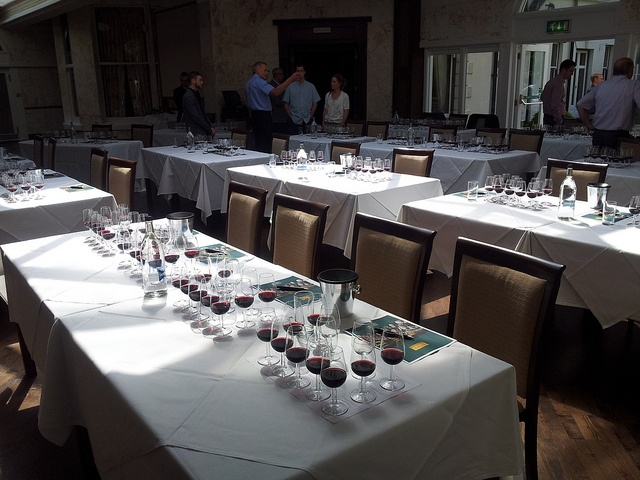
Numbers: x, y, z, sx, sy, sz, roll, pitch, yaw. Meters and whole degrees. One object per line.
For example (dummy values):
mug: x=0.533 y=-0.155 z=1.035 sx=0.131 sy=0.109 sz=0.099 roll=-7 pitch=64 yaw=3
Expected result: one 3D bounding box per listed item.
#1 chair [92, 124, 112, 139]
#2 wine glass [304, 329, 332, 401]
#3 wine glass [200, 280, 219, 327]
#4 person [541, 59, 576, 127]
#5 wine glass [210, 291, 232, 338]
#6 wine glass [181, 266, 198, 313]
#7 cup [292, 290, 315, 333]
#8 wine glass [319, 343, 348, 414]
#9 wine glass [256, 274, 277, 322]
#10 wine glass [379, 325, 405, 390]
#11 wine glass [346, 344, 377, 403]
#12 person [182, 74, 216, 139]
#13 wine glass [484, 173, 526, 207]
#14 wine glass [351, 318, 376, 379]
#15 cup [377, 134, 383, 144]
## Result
chair: x=-4.088 y=-2.036 z=8.191 sx=0.349 sy=0.208 sz=1.023 roll=-8 pitch=19 yaw=-25
wine glass: x=-0.011 y=0.420 z=1.438 sx=0.069 sy=0.177 sz=0.066 roll=2 pitch=16 yaw=24
wine glass: x=-0.468 y=0.276 z=1.922 sx=0.063 sy=0.164 sz=0.068 roll=4 pitch=-10 yaw=3
person: x=4.541 y=-2.854 z=8.399 sx=0.499 sy=1.218 sz=1.040 roll=9 pitch=19 yaw=28
wine glass: x=-0.422 y=0.319 z=1.847 sx=0.092 sy=0.213 sz=0.090 roll=10 pitch=25 yaw=23
wine glass: x=-0.587 y=0.231 z=1.995 sx=0.054 sy=0.135 sz=0.053 roll=1 pitch=-3 yaw=31
cup: x=-0.051 y=0.314 z=1.881 sx=0.094 sy=0.182 sz=0.095 roll=-5 pitch=8 yaw=1
wine glass: x=0.048 y=0.433 z=1.390 sx=0.087 sy=0.168 sz=0.171 roll=0 pitch=17 yaw=1
wine glass: x=-0.241 y=0.256 z=2.019 sx=0.086 sy=0.229 sz=0.086 roll=-3 pitch=15 yaw=-20
wine glass: x=0.257 y=0.404 z=1.531 sx=0.092 sy=0.228 sz=0.086 roll=4 pitch=15 yaw=22
wine glass: x=0.144 y=0.428 z=1.430 sx=0.077 sy=0.179 sz=0.081 roll=-1 pitch=15 yaw=-14
person: x=-2.100 y=-2.338 z=7.507 sx=0.523 sy=1.104 sz=1.473 roll=-5 pitch=18 yaw=-16
wine glass: x=1.517 y=-0.418 z=3.627 sx=0.266 sy=0.122 sz=0.368 roll=-14 pitch=22 yaw=-31
wine glass: x=0.165 y=0.399 z=1.600 sx=0.086 sy=0.226 sz=0.089 roll=1 pitch=-3 yaw=-10
cup: x=0.978 y=-1.650 z=7.094 sx=0.113 sy=0.214 sz=0.118 roll=0 pitch=5 yaw=0
